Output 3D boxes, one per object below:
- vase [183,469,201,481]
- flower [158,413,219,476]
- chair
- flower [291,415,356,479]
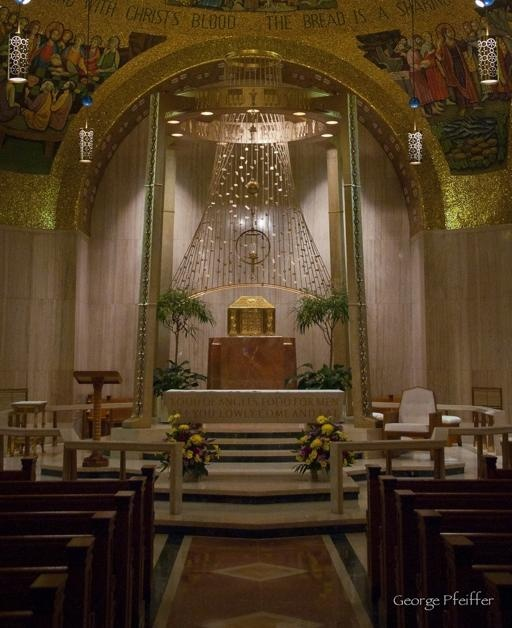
[{"bbox_3d":[-0.634,1.609,6.431,0.189,0.147,0.411,1,-7,-6],"label":"vase"},{"bbox_3d":[-0.653,1.380,6.518,0.527,0.570,0.526,2,8,30],"label":"flower"},{"bbox_3d":[2.017,1.279,8.244,0.685,0.654,0.789,-3,-8,23],"label":"chair"},{"bbox_3d":[0.612,1.315,6.406,0.576,0.636,0.637,1,-9,-8],"label":"flower"}]
